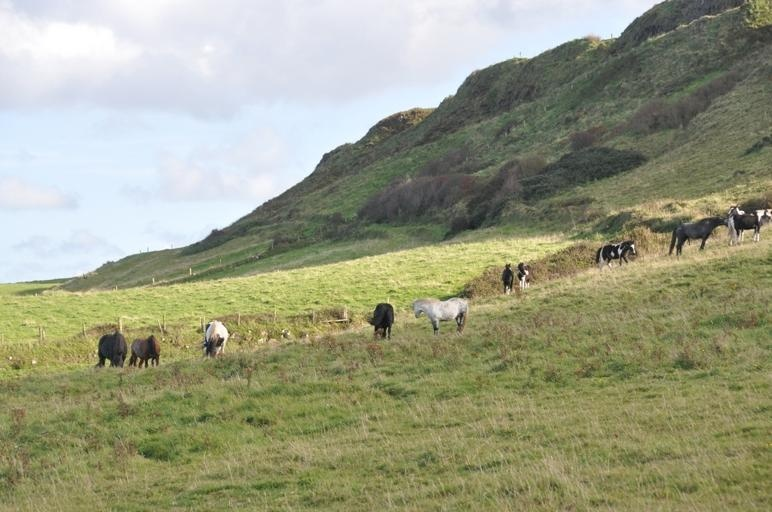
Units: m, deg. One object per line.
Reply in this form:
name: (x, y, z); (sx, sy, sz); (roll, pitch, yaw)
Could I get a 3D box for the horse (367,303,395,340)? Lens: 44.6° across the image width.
horse: (-0.217, 4.908, 71.420); (1.521, 2.686, 1.996); (-4, -3, -2)

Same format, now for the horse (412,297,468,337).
horse: (4.205, 4.597, 70.572); (4.658, 2.783, 1.452); (-2, -3, -25)
